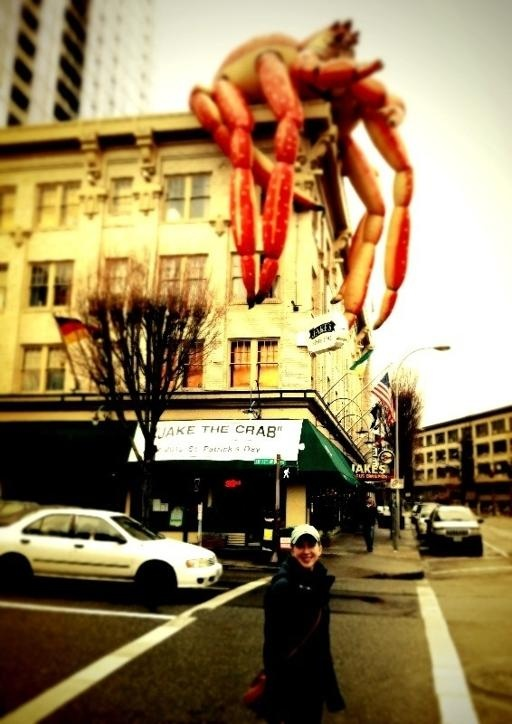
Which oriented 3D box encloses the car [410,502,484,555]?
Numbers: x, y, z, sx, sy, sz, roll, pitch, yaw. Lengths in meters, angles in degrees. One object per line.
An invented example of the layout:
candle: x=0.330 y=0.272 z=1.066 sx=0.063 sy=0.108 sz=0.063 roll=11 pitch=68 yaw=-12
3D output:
car: x=8.274 y=7.347 z=26.100 sx=2.042 sy=2.134 sz=8.124 roll=-1 pitch=-9 yaw=13
